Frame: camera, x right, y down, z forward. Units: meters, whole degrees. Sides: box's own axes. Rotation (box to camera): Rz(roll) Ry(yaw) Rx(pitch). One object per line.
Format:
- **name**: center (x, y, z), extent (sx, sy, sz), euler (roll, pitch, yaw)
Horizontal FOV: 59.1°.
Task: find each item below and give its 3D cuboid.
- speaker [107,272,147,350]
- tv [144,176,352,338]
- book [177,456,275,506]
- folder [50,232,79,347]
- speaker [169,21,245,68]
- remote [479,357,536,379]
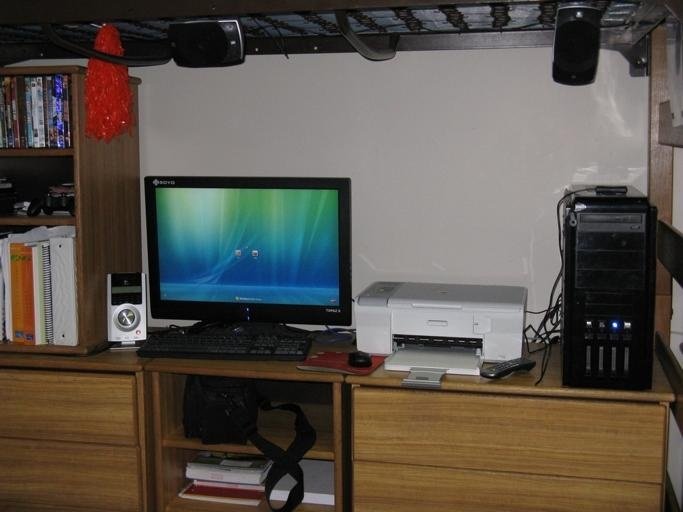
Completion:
- **speaker**: center (-0.915, 0.228, 2.572), extent (0.151, 0.309, 0.063), euler (-1, 3, -21)
- **tv**: center (-0.405, -0.025, 2.594), extent (0.897, 0.623, 0.082), euler (1, 2, 10)
- **book**: center (-0.466, 0.905, 2.587), extent (0.333, 0.145, 0.367), euler (1, 3, 19)
- **folder**: center (-1.154, 0.148, 2.503), extent (0.107, 0.451, 0.029), euler (1, 2, 3)
- **speaker**: center (-0.455, -0.748, 2.215), extent (0.270, 0.157, 0.225), euler (2, 8, 16)
- **remote**: center (0.625, 0.390, 2.215), extent (0.261, 0.058, 0.075), euler (-6, 5, -33)
